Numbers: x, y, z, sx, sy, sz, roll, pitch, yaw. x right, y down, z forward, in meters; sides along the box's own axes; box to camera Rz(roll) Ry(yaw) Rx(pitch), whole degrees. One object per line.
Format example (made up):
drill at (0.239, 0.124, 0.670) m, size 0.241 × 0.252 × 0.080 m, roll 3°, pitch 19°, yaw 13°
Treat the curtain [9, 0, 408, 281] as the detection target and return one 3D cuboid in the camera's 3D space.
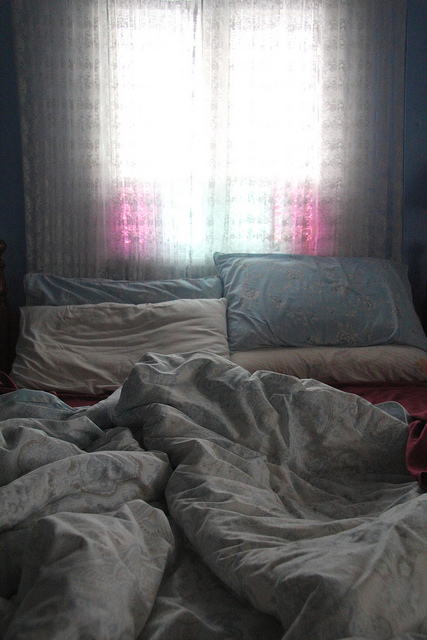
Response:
curtain at (-0.090, -0.945, 2.558) m, size 1.385 × 1.454 × 0.062 m, roll 0°, pitch 10°, yaw -2°
